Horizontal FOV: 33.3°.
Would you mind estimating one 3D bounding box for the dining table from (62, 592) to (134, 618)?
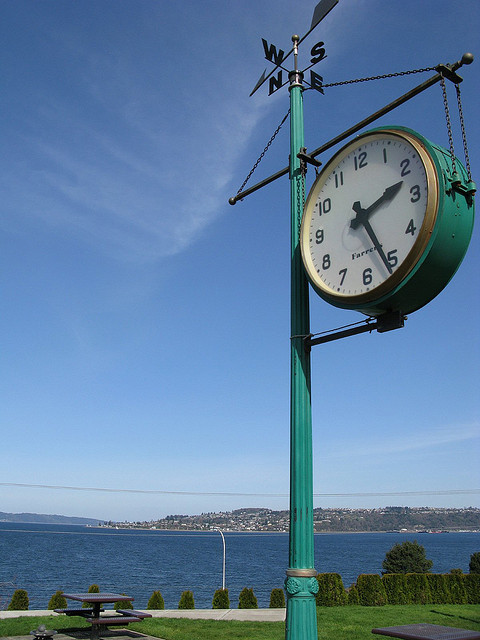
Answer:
[{"bbox_3d":[-2.781,5.435,15.691,0.983,0.665,1.030,5,-20,-16],"label":"dining table"}]

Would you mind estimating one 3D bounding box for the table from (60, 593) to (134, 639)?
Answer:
[{"bbox_3d":[-2.736,5.596,15.847,1.137,1.193,1.185,5,-20,-17],"label":"table"}]

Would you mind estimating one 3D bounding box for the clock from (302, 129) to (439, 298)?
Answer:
[{"bbox_3d":[1.473,-1.095,8.661,0.392,1.825,1.680,9,-19,-32],"label":"clock"}]
